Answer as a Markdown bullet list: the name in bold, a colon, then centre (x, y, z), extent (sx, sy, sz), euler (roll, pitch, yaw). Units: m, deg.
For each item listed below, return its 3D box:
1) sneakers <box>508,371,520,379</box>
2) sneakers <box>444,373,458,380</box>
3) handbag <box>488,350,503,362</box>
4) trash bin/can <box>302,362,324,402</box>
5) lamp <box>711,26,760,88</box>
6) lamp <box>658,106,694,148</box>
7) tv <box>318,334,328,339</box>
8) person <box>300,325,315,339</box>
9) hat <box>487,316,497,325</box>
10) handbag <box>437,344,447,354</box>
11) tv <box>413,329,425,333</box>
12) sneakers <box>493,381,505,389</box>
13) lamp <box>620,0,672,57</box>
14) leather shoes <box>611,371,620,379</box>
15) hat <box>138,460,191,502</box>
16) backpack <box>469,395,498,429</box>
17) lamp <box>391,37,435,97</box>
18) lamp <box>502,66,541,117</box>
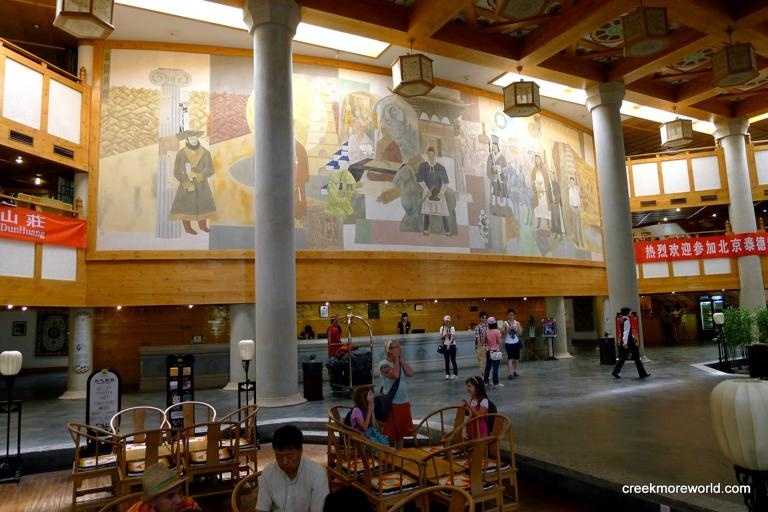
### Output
- **sneakers**: centre (3.905, 3.633, 15.685), extent (0.166, 0.169, 0.446), euler (-3, -11, 30)
- **sneakers**: centre (2.100, 3.781, 16.182), extent (0.161, 0.176, 0.432), euler (-6, -17, 25)
- **handbag**: centre (3.051, 2.761, 14.315), extent (0.252, 0.207, 0.282), euler (0, -12, 1)
- **trash bin/can**: centre (-1.903, 3.279, 13.592), extent (0.537, 0.960, 0.440), euler (-6, -7, 12)
- **lamp**: centre (9.179, -5.357, 13.715), extent (0.983, 1.108, 0.944), euler (-9, -1, -14)
- **lamp**: centre (10.186, -4.547, 17.985), extent (0.710, 1.136, 0.939), euler (-3, 0, -38)
- **tv**: centre (-2.079, 2.702, 17.407), extent (0.212, 0.166, 0.219), euler (-4, -8, 23)
- **person**: centre (-2.666, 2.597, 17.772), extent (0.419, 0.429, 1.411), euler (-3, -5, -12)
- **hat**: centre (2.973, 1.787, 14.280), extent (0.216, 0.150, 0.208), euler (2, -2, -2)
- **handbag**: centre (1.764, 2.879, 16.170), extent (0.172, 0.260, 0.450), euler (-3, -6, -19)
- **tv**: centre (1.258, 2.771, 19.239), extent (0.447, 0.101, 0.702), euler (-4, -5, 0)
- **sneakers**: centre (3.112, 3.516, 14.126), extent (0.294, 0.260, 0.134), euler (-4, -10, 11)
- **lamp**: centre (6.334, -5.793, 12.694), extent (0.971, 1.402, 0.806), euler (-7, -7, 23)
- **leather shoes**: centre (6.551, 3.380, 14.704), extent (0.174, 0.225, 0.134), euler (-25, 40, -27)
- **hat**: centre (-2.810, 2.760, 6.337), extent (0.436, 0.178, 0.380), euler (-24, -4, 28)
- **backpack**: centre (1.602, 2.508, 8.363), extent (0.389, 0.638, 0.504), euler (1, -11, 3)
- **lamp**: centre (0.733, -5.201, 13.959), extent (1.194, 1.549, 1.101), euler (2, -11, -22)
- **lamp**: centre (3.923, -4.747, 14.862), extent (1.175, 1.424, 1.021), euler (0, 1, -22)
